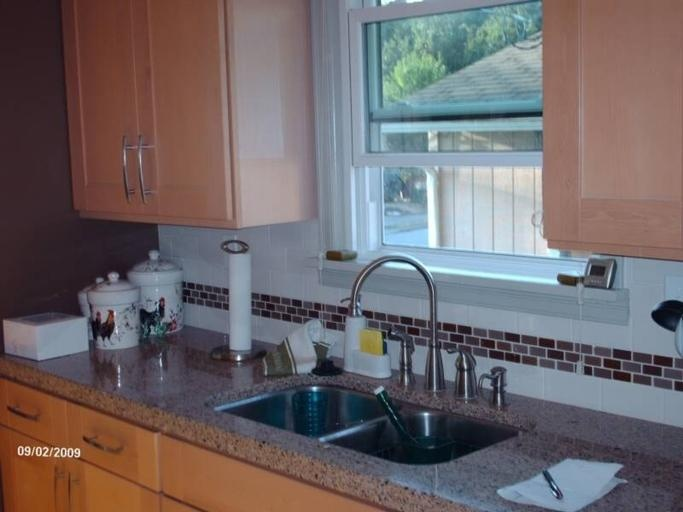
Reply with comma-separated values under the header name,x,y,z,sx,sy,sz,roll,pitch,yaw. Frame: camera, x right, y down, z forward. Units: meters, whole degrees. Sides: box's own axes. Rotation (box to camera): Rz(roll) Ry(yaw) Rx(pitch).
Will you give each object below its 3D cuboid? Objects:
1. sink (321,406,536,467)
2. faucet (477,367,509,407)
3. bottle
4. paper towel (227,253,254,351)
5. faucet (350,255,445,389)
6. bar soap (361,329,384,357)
name,x,y,z,sx,sy,sz,roll,pitch,yaw
sink,0.250,0.592,2.039,0.621,0.136,0.172,2,13,21
faucet,0.497,0.435,2.054,0.107,0.130,0.065,-4,8,-15
bottle,-0.921,0.201,2.795,0.528,0.450,0.296,-3,2,-43
paper towel,-0.426,0.192,2.558,0.103,0.387,0.114,-4,12,-8
faucet,0.179,0.215,2.194,0.372,0.464,0.103,3,13,26
bar soap,0.107,0.317,2.272,0.086,0.085,0.029,9,13,39
